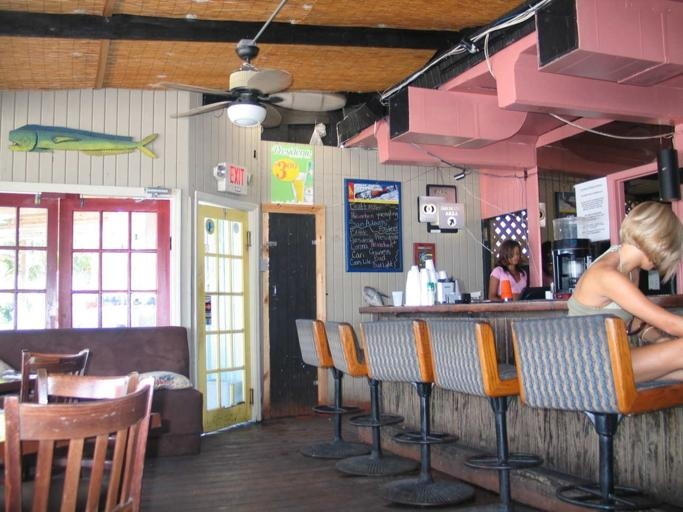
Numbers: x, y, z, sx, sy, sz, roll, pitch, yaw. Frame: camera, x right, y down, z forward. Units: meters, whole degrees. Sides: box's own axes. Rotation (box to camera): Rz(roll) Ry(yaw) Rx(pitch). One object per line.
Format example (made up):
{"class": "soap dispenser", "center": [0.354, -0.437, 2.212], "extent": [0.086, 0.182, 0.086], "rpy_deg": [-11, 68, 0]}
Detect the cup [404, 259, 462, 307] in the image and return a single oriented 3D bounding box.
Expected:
{"class": "cup", "center": [0.887, 0.282, 6.124], "extent": [0.509, 0.476, 0.396], "rpy_deg": [3, -7, -32]}

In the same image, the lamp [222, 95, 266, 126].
{"class": "lamp", "center": [-0.734, -1.113, 5.372], "extent": [0.278, 0.178, 0.241], "rpy_deg": [-2, -2, -9]}

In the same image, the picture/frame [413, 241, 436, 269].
{"class": "picture/frame", "center": [0.938, -0.008, 7.878], "extent": [0.273, 0.347, 0.044], "rpy_deg": [12, -25, -27]}

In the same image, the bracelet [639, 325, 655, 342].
{"class": "bracelet", "center": [1.626, 0.418, 3.704], "extent": [0.068, 0.082, 0.092], "rpy_deg": [6, -35, 13]}

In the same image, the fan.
{"class": "fan", "center": [-0.666, -1.368, 5.504], "extent": [1.513, 0.530, 1.517], "rpy_deg": [-7, 2, -6]}

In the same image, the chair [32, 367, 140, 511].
{"class": "chair", "center": [-1.270, 0.733, 3.468], "extent": [0.326, 0.542, 0.378], "rpy_deg": [3, 1, -2]}

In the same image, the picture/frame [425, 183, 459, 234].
{"class": "picture/frame", "center": [1.154, -0.538, 8.047], "extent": [0.605, 0.796, 0.077], "rpy_deg": [3, -6, -24]}
